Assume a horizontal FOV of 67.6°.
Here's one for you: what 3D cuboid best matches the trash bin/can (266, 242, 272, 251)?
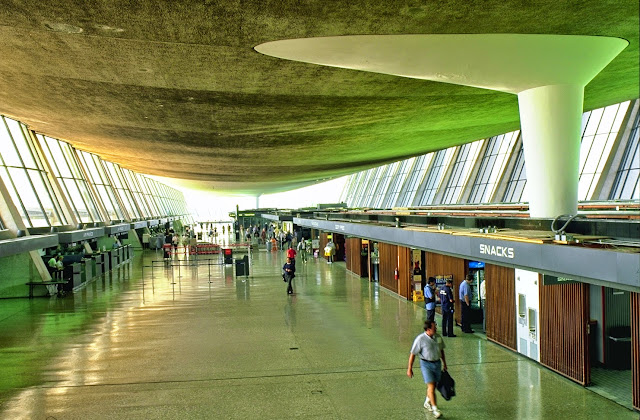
[{"bbox_3d":[-4.526,3.165,42.023,0.651,0.874,0.608,2,-4,-14],"label":"trash bin/can"}]

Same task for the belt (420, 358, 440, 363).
[{"bbox_3d":[2.492,3.375,10.842,0.420,0.097,0.159,-1,1,14],"label":"belt"}]

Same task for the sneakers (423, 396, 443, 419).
[{"bbox_3d":[2.519,4.499,10.901,0.191,0.239,0.547,1,-4,-18],"label":"sneakers"}]

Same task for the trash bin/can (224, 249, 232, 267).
[{"bbox_3d":[-6.023,3.009,31.145,0.496,0.920,0.680,-1,1,-3],"label":"trash bin/can"}]

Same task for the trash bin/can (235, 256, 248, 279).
[{"bbox_3d":[-4.280,3.111,26.507,1.131,1.354,1.084,1,-3,-3],"label":"trash bin/can"}]

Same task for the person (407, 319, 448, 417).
[{"bbox_3d":[2.456,3.571,10.923,0.774,2.108,1.122,-1,2,17],"label":"person"}]

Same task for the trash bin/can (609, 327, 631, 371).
[{"bbox_3d":[8.130,3.741,12.974,0.527,1.120,0.335,-1,2,19],"label":"trash bin/can"}]

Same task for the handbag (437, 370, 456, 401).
[{"bbox_3d":[2.853,3.968,10.782,0.244,0.618,0.513,-17,13,39],"label":"handbag"}]

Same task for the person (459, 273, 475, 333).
[{"bbox_3d":[5.014,3.141,16.423,0.422,1.960,0.995,-1,2,16],"label":"person"}]

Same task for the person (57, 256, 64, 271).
[{"bbox_3d":[-12.734,2.594,23.360,0.244,0.713,0.698,-2,2,-24],"label":"person"}]

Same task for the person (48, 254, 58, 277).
[{"bbox_3d":[-12.971,2.767,23.192,0.385,1.032,0.700,-2,2,-30],"label":"person"}]
